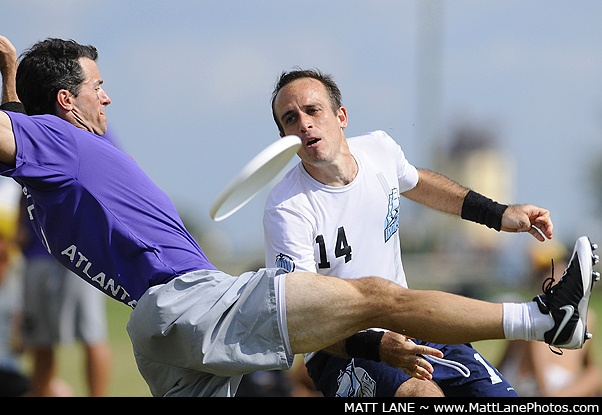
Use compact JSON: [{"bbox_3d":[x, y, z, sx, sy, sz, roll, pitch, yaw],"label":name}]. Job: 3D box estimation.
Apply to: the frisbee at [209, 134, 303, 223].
[{"bbox_3d":[-0.346,-0.077,7.581,0.530,0.513,0.531,44,-7,-35],"label":"frisbee"}]
